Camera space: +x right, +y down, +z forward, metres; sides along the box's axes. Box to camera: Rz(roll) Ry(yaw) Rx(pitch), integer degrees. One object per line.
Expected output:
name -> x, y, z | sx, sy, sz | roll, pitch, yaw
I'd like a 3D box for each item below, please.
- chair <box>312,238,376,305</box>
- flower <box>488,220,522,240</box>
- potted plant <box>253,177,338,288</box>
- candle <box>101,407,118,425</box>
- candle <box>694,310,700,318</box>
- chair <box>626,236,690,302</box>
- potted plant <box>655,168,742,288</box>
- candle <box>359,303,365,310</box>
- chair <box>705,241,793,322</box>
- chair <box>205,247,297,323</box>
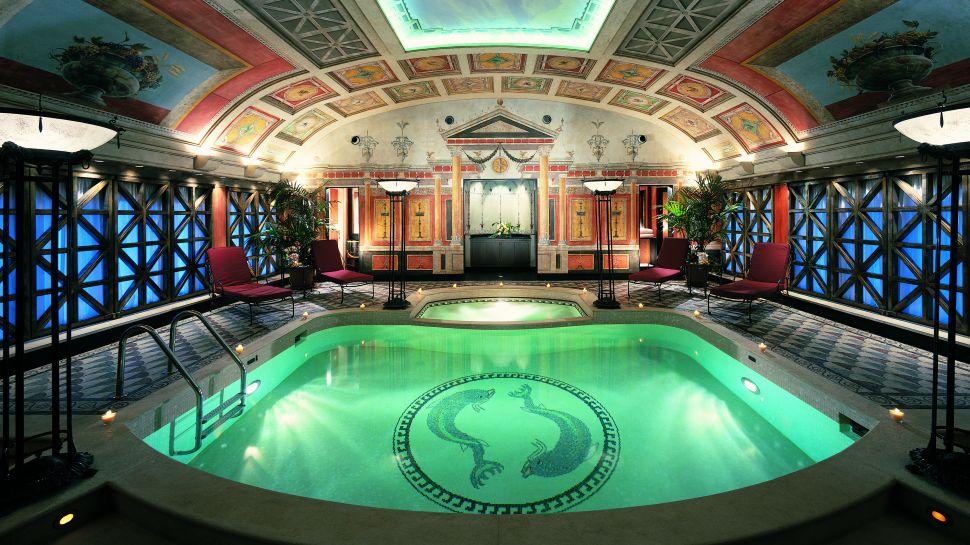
chair -> -3.711, -0.071, 11.653 | 1.593, 1.001, 0.991 | 21, 20, 39
flower -> 0.718, -1.387, 15.586 | 0.744, 0.338, 0.755 | 1, 1, 45
potted plant -> -5.149, -0.938, 12.830 | 2.617, 2.352, 2.420 | -9, 4, 0
candle -> -5.149, 1.998, 6.336 | 0.171, 0.155, 0.204 | 4, -6, -23
candle -> 4.422, 0.900, 9.643 | 0.136, 0.131, 0.130 | 3, 18, 33
chair -> 4.538, -0.193, 11.663 | 1.124, 1.295, 1.742 | 1, 6, 24
potted plant -> 6.071, -1.530, 12.560 | 1.977, 1.910, 1.366 | -20, 36, 4
candle -> -2.831, 0.783, 10.568 | 0.107, 0.075, 0.094 | 0, 6, 8
chair -> 5.780, 0.145, 9.926 | 1.757, 1.017, 0.935 | -20, 19, -28
chair -> -5.197, 0.188, 9.963 | 1.821, 0.939, 0.985 | 19, 19, 32
